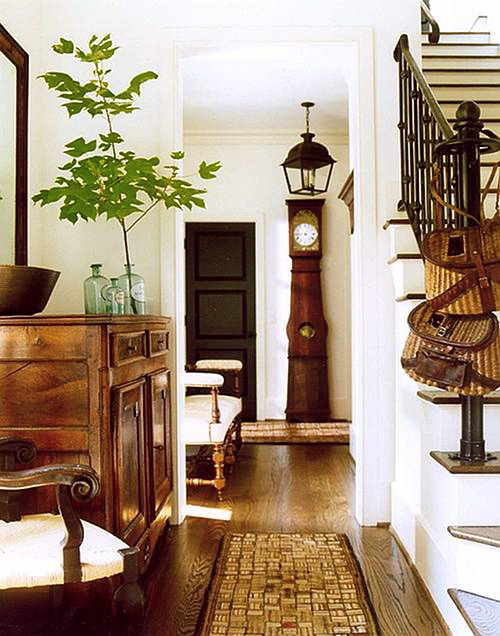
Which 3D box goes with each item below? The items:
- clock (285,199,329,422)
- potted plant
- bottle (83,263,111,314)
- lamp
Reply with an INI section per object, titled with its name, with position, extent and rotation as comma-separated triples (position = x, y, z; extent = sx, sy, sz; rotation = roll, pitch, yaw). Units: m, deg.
[clock]
position = 0.519, -0.075, 5.275
extent = 0.388, 2.018, 0.235
rotation = 0, 1, 8
[potted plant]
position = -0.553, -0.680, 2.470
extent = 0.672, 1.320, 0.926
rotation = 0, 1, -22
[bottle]
position = -0.589, -0.119, 2.258
extent = 0.093, 0.197, 0.250
rotation = 0, 0, -15
[lamp]
position = 0.455, -1.350, 4.589
extent = 0.344, 0.740, 0.394
rotation = -3, -8, 28
